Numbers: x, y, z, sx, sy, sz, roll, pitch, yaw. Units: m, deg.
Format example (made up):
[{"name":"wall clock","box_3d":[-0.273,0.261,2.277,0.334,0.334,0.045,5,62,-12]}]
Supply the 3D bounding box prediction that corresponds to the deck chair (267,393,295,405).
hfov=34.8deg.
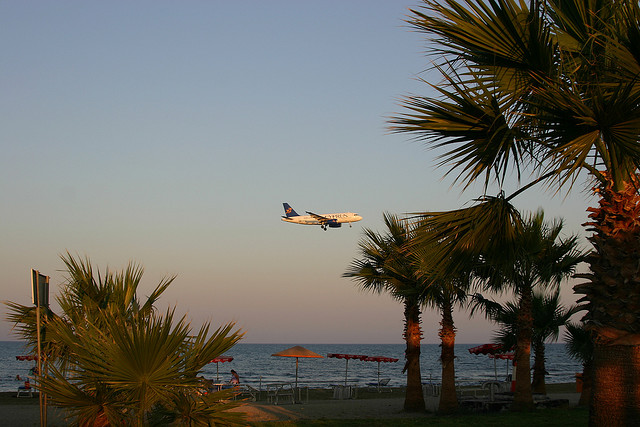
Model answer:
[{"name":"deck chair","box_3d":[-1.633,7.916,43.860,0.750,0.384,0.984,1,-16,-5]}]

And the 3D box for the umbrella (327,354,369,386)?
[{"name":"umbrella","box_3d":[1.248,7.405,49.169,1.358,1.265,1.610,-5,-5,36]}]

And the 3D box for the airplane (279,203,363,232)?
[{"name":"airplane","box_3d":[-0.031,0.405,79.626,4.183,1.516,3.907,-6,-1,9]}]
